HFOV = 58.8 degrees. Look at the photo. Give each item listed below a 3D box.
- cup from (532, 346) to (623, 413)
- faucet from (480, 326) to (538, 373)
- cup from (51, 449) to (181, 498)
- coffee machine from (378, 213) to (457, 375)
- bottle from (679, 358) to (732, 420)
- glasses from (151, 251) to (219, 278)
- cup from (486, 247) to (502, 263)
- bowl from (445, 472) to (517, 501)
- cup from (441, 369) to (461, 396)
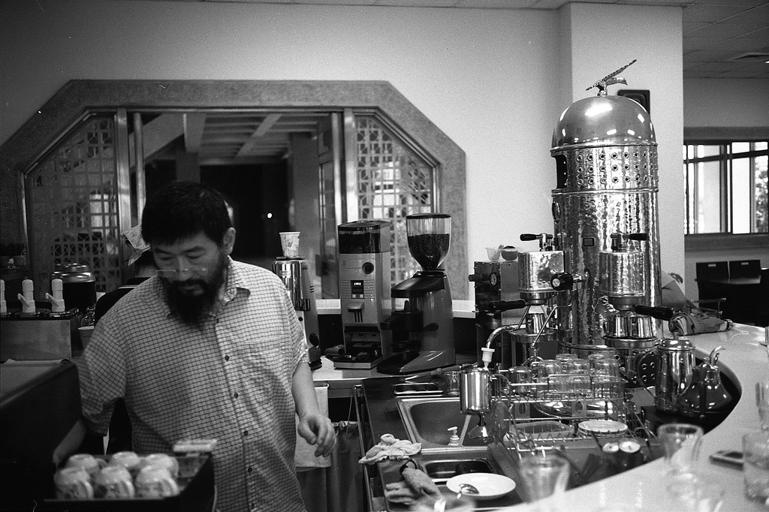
[{"bbox_3d":[0.851,0.540,2.955,0.291,0.174,0.288,-2,-3,0],"label":"cup"},{"bbox_3d":[0.580,0.415,3.264,0.308,0.286,0.242,-2,4,-2],"label":"faucet"},{"bbox_3d":[-0.783,0.616,2.008,0.285,0.101,0.157,1,-4,3],"label":"cup"},{"bbox_3d":[0.178,0.218,3.915,0.547,0.884,0.320,-8,9,-8],"label":"coffee machine"},{"bbox_3d":[1.263,0.522,2.778,0.219,0.231,0.228,-1,5,4],"label":"bottle"},{"bbox_3d":[-0.698,0.030,2.414,0.216,0.110,0.076,-9,9,-16],"label":"glasses"},{"bbox_3d":[0.659,-0.008,4.145,0.119,0.094,0.111,0,-1,0],"label":"cup"},{"bbox_3d":[0.353,0.832,2.454,0.248,0.029,0.167,-5,9,7],"label":"bowl"},{"bbox_3d":[0.318,0.603,3.383,0.068,0.130,0.257,-7,9,-4],"label":"cup"}]
